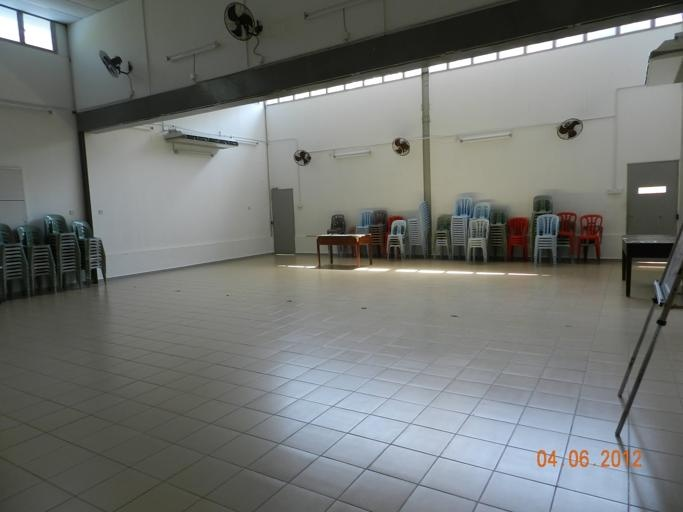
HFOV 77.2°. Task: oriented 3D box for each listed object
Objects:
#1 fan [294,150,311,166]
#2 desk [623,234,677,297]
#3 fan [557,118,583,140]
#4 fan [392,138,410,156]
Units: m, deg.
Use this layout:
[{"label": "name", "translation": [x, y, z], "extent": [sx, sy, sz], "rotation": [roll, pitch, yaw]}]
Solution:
[{"label": "fan", "translation": [-1.261, -3.272, 14.148], "extent": [0.557, 0.496, 0.406], "rotation": [-1, 9, 11]}, {"label": "desk", "translation": [4.515, 0.122, 6.331], "extent": [0.504, 0.516, 0.992], "rotation": [3, 6, 28]}, {"label": "fan", "translation": [5.532, -3.077, 10.352], "extent": [0.551, 0.452, 0.292], "rotation": [2, 10, 28]}, {"label": "fan", "translation": [1.755, -3.184, 12.457], "extent": [0.480, 0.523, 0.381], "rotation": [-1, 9, 6]}]
